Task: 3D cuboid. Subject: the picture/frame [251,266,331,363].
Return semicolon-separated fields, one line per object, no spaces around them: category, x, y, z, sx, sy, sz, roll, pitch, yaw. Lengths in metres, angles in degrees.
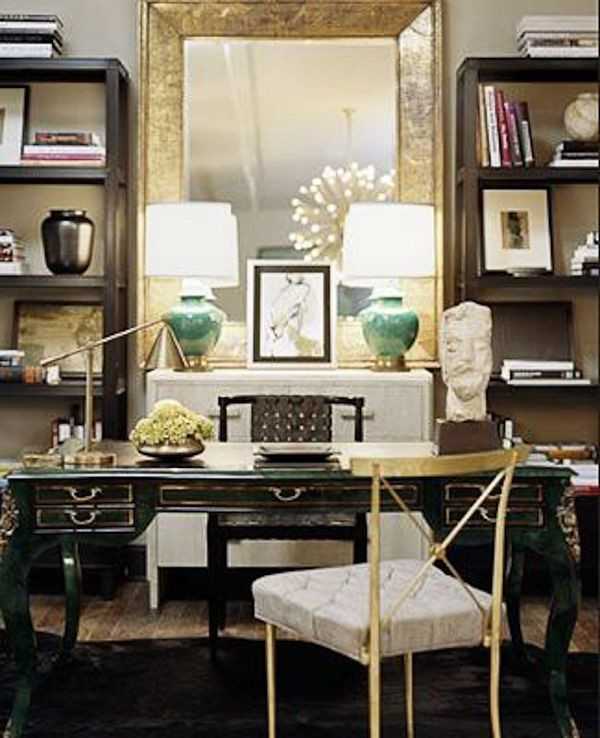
picture/frame;-0.051;-0.201;3.581;0.356;0.476;0.033;0;-7;-4

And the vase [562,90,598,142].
vase;1.119;-0.985;3.507;0.157;0.197;0.168;2;-2;29

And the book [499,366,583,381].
book;0.957;0.012;3.540;0.287;0.078;0.140;-1;7;-10

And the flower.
flower;-0.386;0.145;2.545;0.151;0.098;0.166;0;-1;-31

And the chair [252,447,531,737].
chair;0.230;0.570;2.252;0.592;0.779;0.429;-3;7;-26

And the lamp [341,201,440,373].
lamp;0.353;-0.328;3.513;0.375;0.622;0.422;1;7;9

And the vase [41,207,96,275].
vase;-0.916;-0.483;3.526;0.217;0.293;0.236;1;-4;-15

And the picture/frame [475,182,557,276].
picture/frame;0.870;-0.560;3.636;0.380;0.489;0.021;0;-12;-8

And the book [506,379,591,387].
book;0.981;0.058;3.487;0.337;0.037;0.042;0;7;-3
